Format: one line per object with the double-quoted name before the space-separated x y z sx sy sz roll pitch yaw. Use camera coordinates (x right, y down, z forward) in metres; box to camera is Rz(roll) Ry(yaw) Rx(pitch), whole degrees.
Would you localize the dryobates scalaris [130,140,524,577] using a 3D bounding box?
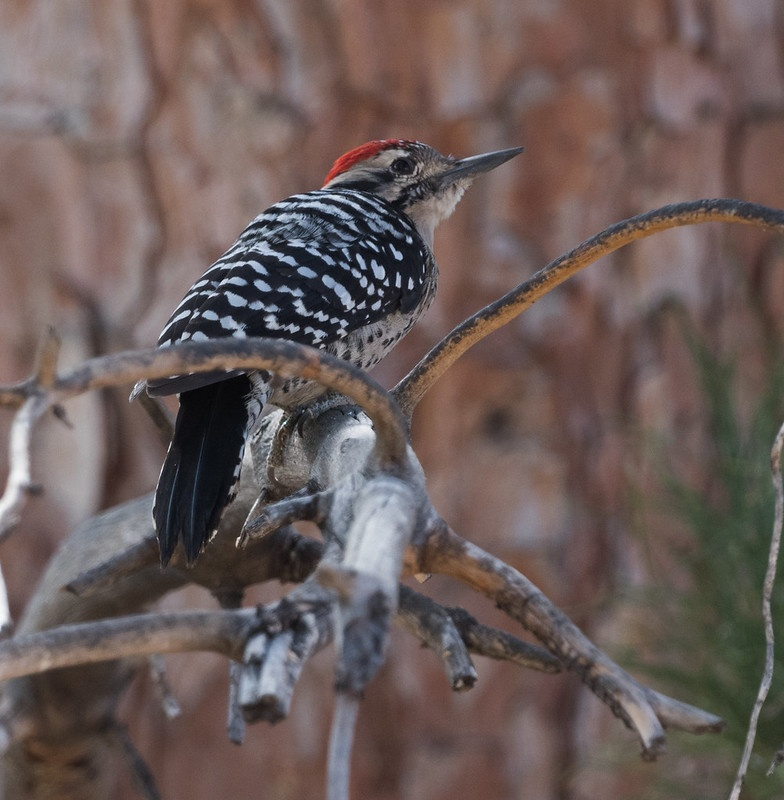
"dryobates scalaris" -0.223 -0.275 5.525 1.550 0.682 0.508 -23 3 -40
